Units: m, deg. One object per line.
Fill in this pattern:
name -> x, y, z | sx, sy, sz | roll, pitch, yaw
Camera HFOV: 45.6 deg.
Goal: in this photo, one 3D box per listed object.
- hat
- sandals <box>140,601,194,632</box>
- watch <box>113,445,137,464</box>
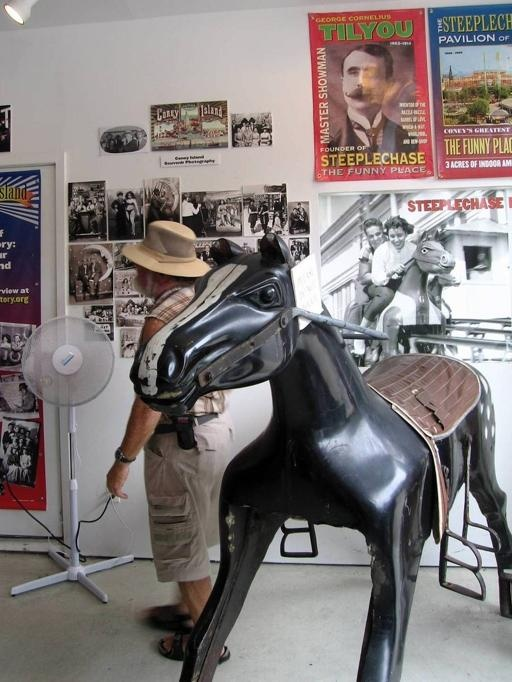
hat -> -0.289, -0.307, 2.031 | 0.304, 0.149, 0.284 | 12, 25, -3
sandals -> -0.336, 1.048, 2.305 | 0.211, 0.058, 0.080 | 2, 2, 35
watch -> -0.410, 0.363, 1.905 | 0.062, 0.060, 0.056 | -2, -35, -18
